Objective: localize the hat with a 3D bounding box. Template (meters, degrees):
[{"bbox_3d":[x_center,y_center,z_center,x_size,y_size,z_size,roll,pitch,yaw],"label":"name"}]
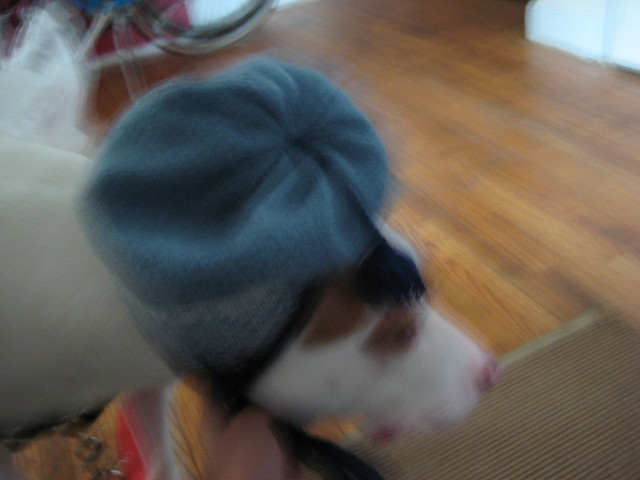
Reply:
[{"bbox_3d":[-0.067,-0.031,0.649,0.237,0.287,0.311,15,27,-27],"label":"hat"}]
